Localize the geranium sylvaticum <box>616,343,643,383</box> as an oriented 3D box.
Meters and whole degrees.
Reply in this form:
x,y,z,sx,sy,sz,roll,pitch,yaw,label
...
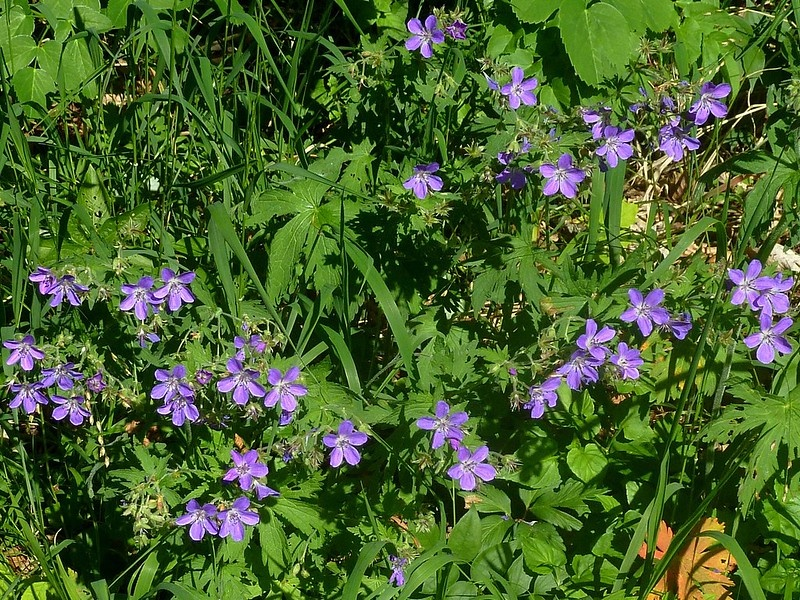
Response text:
x,y,z,sx,sy,sz,roll,pitch,yaw,label
1.005,0.276,3.347,0.105,0.159,0.098,-2,42,-2,geranium sylvaticum

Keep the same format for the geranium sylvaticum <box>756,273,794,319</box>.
x,y,z,sx,sy,sz,roll,pitch,yaw,label
1.678,0.011,3.463,0.174,0.208,0.090,-29,28,-16,geranium sylvaticum

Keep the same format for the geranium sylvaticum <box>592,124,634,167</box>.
x,y,z,sx,sy,sz,roll,pitch,yaw,label
0.991,-0.709,3.523,0.157,0.205,0.047,19,10,-2,geranium sylvaticum

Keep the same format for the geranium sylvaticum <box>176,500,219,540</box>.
x,y,z,sx,sy,sz,roll,pitch,yaw,label
-0.852,0.946,3.275,0.156,0.212,0.074,8,4,1,geranium sylvaticum

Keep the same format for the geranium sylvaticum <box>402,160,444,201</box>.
x,y,z,sx,sy,sz,roll,pitch,yaw,label
0.106,-0.551,3.608,0.177,0.231,0.176,0,43,0,geranium sylvaticum

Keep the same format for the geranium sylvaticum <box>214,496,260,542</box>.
x,y,z,sx,sy,sz,roll,pitch,yaw,label
-0.696,0.957,3.303,0.186,0.195,0.083,32,10,-36,geranium sylvaticum

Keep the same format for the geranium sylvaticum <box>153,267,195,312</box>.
x,y,z,sx,sy,sz,roll,pitch,yaw,label
-0.975,-0.049,3.374,0.170,0.185,0.068,36,12,-10,geranium sylvaticum

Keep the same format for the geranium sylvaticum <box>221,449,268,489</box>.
x,y,z,sx,sy,sz,roll,pitch,yaw,label
-0.660,0.747,3.320,0.173,0.241,0.141,2,42,2,geranium sylvaticum

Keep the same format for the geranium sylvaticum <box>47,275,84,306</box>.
x,y,z,sx,sy,sz,roll,pitch,yaw,label
-1.470,-0.045,3.374,0.132,0.143,0.067,4,25,-21,geranium sylvaticum
